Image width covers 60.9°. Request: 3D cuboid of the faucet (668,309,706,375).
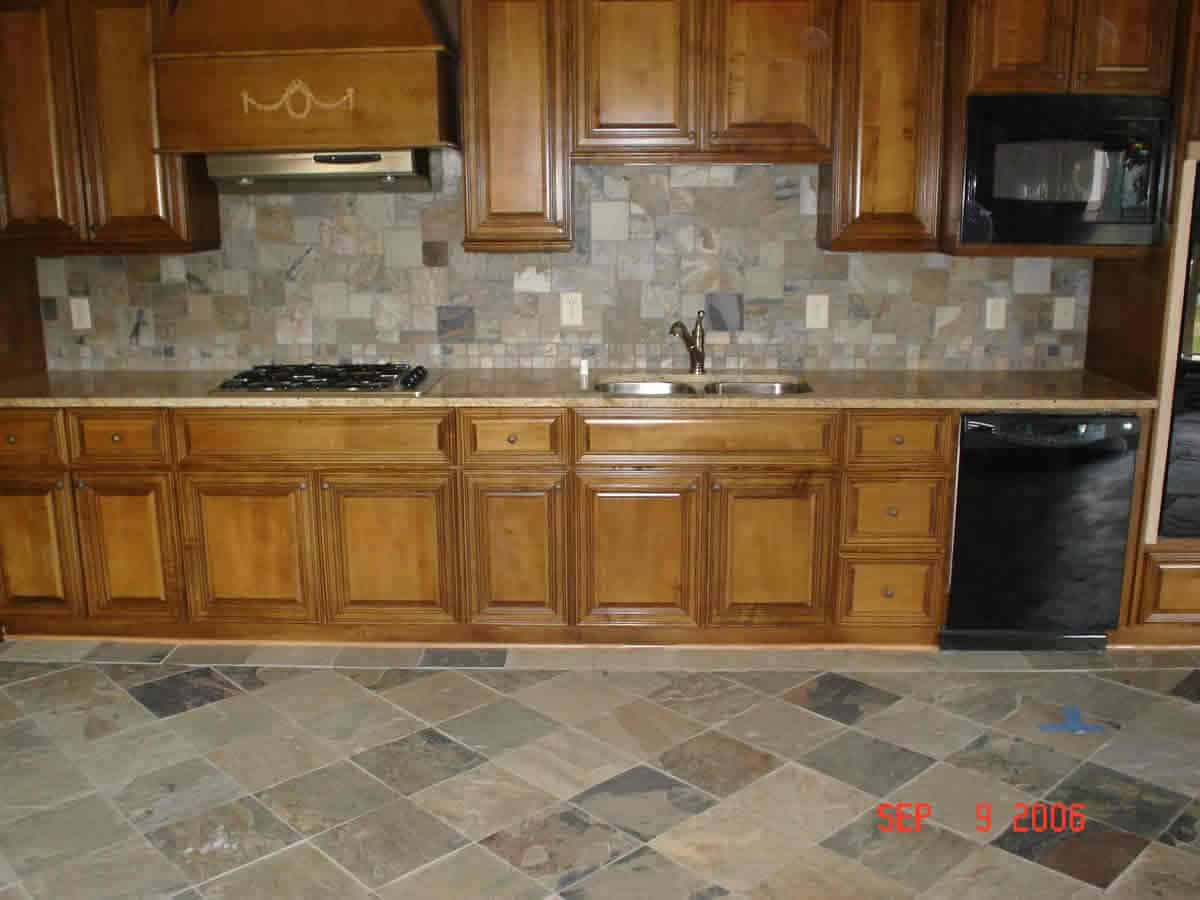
[{"bbox_3d":[0.410,-0.498,4.739,0.167,0.294,0.251,-3,14,6],"label":"faucet"}]
